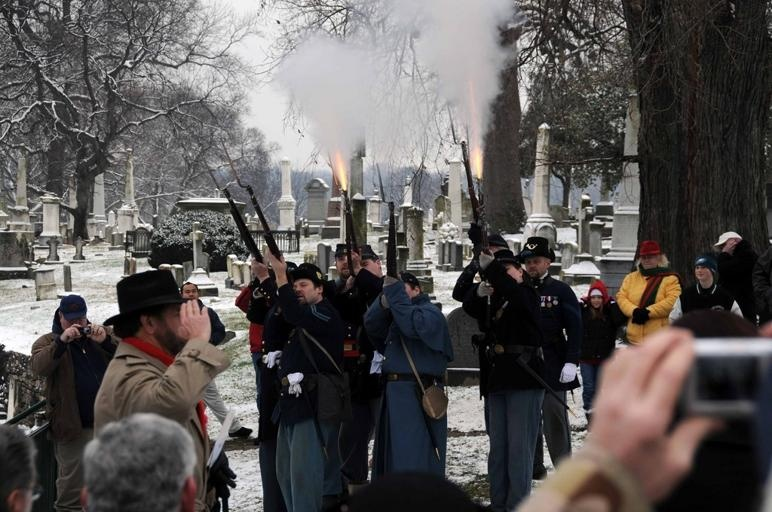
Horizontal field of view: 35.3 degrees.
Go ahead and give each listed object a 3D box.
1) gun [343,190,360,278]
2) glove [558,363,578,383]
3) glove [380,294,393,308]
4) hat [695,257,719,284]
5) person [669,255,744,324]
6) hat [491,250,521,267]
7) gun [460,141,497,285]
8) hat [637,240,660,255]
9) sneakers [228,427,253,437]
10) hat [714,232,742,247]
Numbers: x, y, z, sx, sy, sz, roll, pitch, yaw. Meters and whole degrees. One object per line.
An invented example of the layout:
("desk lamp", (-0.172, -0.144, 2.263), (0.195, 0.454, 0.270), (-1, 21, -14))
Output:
("gun", (-0.564, -0.357, 19.330), (0.137, 1.731, 0.414), (-4, -3, 11))
("glove", (2.655, 1.711, 17.823), (0.294, 0.262, 0.226), (5, -15, 4))
("glove", (-0.016, 0.639, 17.247), (0.161, 0.154, 0.166), (1, 2, 25))
("hat", (4.870, 0.190, 18.500), (0.289, 0.354, 0.390), (-15, -32, 37))
("person", (4.698, 0.499, 17.756), (0.833, 1.118, 0.396), (-10, -29, 42))
("hat", (1.749, 0.021, 17.622), (0.333, 0.162, 0.236), (10, -1, -15))
("gun", (1.272, -0.646, 17.254), (0.364, 1.453, 0.822), (-3, 1, 4))
("hat", (4.222, -0.135, 19.407), (0.224, 0.152, 0.300), (-9, -18, 31))
("sneakers", (-2.376, 2.847, 19.777), (0.372, 0.170, 0.136), (-2, 9, -9))
("hat", (5.464, -0.302, 19.375), (0.347, 0.180, 0.246), (1, -10, 2))
